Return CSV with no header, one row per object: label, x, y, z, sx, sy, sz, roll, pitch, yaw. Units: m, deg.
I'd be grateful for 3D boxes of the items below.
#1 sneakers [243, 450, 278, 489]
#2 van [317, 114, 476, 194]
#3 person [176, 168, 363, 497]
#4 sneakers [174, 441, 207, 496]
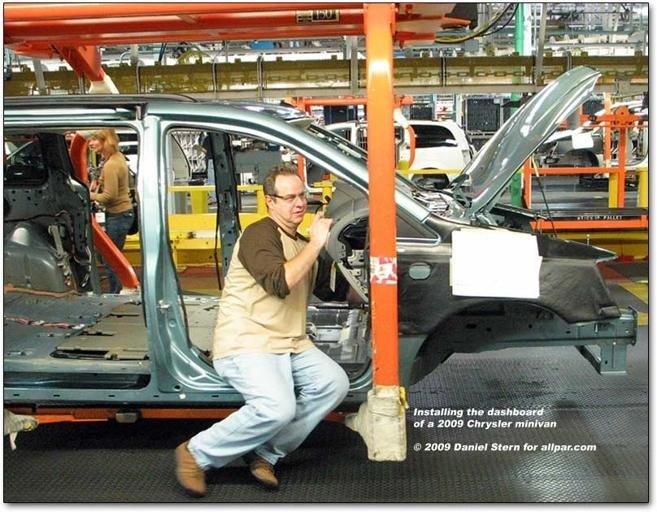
sneakers,-0.403,1.280,3.424,0.131,0.183,0.203,-10,17,-28
van,1.875,-2.384,13.490,4.241,1.485,1.907,2,11,-1
person,-0.393,0.434,3.463,1.246,1.912,0.708,-8,16,-24
sneakers,-0.807,1.249,3.396,0.158,0.316,0.125,-13,-12,4
